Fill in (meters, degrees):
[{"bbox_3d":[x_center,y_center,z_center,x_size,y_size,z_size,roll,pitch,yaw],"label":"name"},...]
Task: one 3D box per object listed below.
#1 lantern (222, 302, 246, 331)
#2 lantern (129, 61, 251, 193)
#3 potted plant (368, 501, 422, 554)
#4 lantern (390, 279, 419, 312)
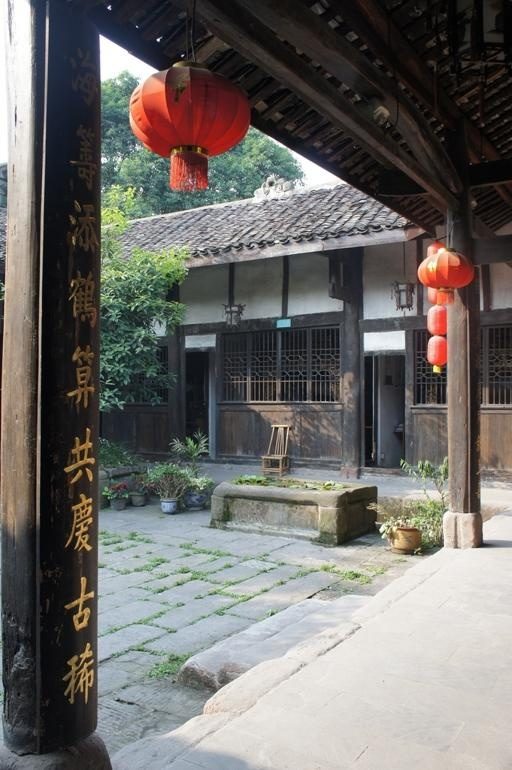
[{"bbox_3d":[-0.344,-1.083,10.731,0.344,0.426,0.347,2,-8,4],"label":"lantern"},{"bbox_3d":[-0.233,-0.876,2.529,0.473,0.499,0.476,0,-10,-8],"label":"lantern"},{"bbox_3d":[1.398,1.395,6.432,0.314,0.422,0.484,3,-11,-8],"label":"potted plant"},{"bbox_3d":[1.924,-1.167,8.971,0.385,0.476,0.365,2,-4,-22],"label":"lantern"}]
